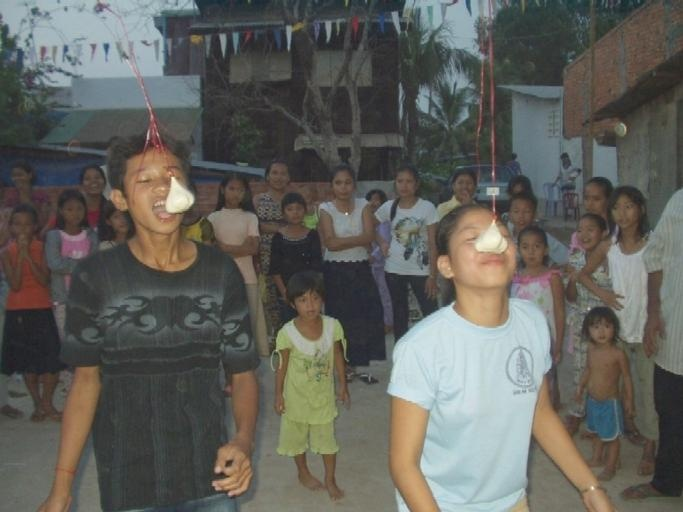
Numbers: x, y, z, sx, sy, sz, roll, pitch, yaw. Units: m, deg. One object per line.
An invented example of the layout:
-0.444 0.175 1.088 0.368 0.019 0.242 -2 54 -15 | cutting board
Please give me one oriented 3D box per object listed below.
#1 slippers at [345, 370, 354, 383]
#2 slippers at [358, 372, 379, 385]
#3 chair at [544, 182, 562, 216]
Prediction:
0.092 1.266 10.091 0.073 0.108 0.039 10 -27 -16 | slippers
0.268 1.285 10.088 0.106 0.050 0.155 12 0 -21 | slippers
5.040 -1.316 22.660 0.477 0.760 0.455 -2 -3 11 | chair
